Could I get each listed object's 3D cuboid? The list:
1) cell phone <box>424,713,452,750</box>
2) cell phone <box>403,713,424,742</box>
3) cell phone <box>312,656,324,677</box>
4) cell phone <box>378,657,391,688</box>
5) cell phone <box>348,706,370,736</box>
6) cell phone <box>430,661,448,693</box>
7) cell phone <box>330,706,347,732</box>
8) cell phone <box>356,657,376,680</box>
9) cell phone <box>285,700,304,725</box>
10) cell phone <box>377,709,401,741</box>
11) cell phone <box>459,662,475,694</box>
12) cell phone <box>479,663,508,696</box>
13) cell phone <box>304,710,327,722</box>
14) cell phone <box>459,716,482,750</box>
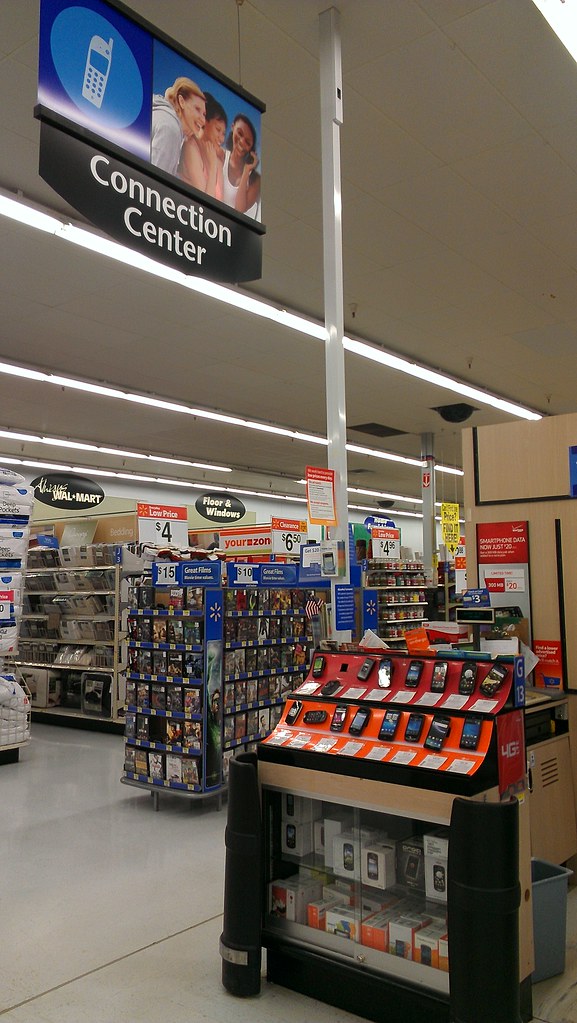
[{"bbox_3d":[0.455,0.677,2.025,0.067,0.086,0.091,-8,-10,34],"label":"cell phone"},{"bbox_3d":[0.398,0.687,2.105,0.058,0.117,0.019,-8,-37,46],"label":"cell phone"},{"bbox_3d":[0.116,0.618,2.624,0.037,0.080,0.017,-13,-37,35],"label":"cell phone"},{"bbox_3d":[0.345,0.578,2.361,0.035,0.094,0.083,-1,6,13],"label":"cell phone"},{"bbox_3d":[0.243,0.723,2.277,0.064,0.083,0.061,4,-10,-40],"label":"cell phone"},{"bbox_3d":[0.500,0.551,2.207,0.052,0.091,0.062,-9,-10,41],"label":"cell phone"},{"bbox_3d":[0.177,0.735,2.343,0.057,0.077,0.059,-5,-8,14],"label":"cell phone"},{"bbox_3d":[0.277,0.582,2.444,0.042,0.086,0.020,4,-34,38],"label":"cell phone"},{"bbox_3d":[0.017,0.764,2.535,0.045,0.099,0.022,-13,-37,34],"label":"cell phone"},{"bbox_3d":[0.332,0.704,2.178,0.066,0.137,0.018,-15,-53,41],"label":"cell phone"},{"bbox_3d":[0.573,0.541,2.128,0.053,0.088,0.057,4,-10,-42],"label":"cell phone"},{"bbox_3d":[0.632,0.527,2.067,0.069,0.087,0.071,2,-9,-28],"label":"cell phone"},{"bbox_3d":[0.097,0.754,2.426,0.107,0.049,0.030,-11,-12,42],"label":"cell phone"},{"bbox_3d":[0.534,0.655,1.950,0.057,0.078,0.069,-8,-10,36],"label":"cell phone"}]
